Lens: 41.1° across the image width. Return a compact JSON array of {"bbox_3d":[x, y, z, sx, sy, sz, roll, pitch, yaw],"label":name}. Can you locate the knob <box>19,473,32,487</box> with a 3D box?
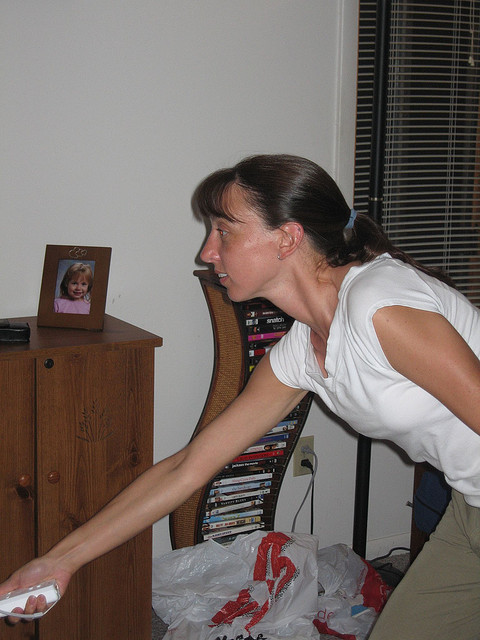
[{"bbox_3d":[-0.464,0.346,1.383,0.026,0.024,0.020,14,5,-8],"label":"knob"}]

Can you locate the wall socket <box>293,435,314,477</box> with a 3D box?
[{"bbox_3d":[0.214,0.461,2.175,0.085,0.142,0.036,2,1,-40],"label":"wall socket"}]
